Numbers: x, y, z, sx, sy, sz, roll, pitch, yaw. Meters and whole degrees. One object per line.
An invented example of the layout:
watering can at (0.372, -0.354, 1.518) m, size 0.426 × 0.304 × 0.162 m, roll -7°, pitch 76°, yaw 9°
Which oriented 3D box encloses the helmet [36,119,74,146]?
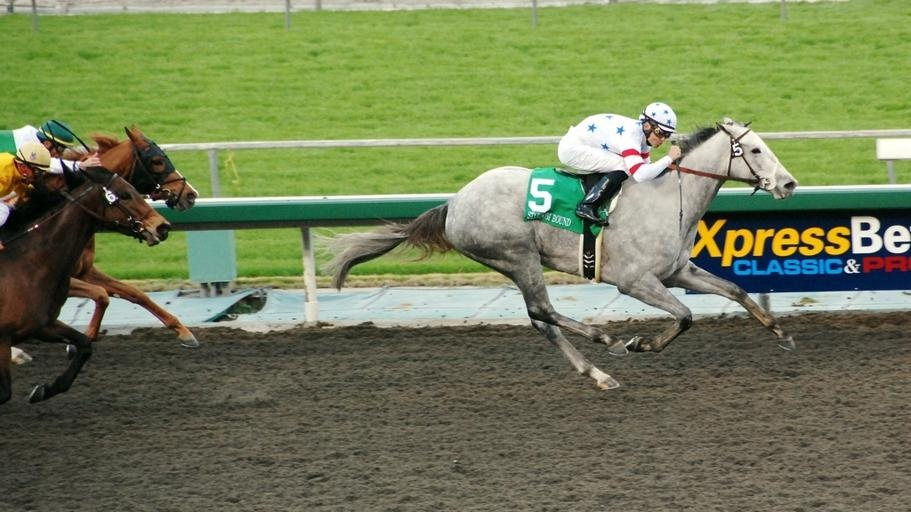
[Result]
helmet at (-4.379, -1.346, 14.039) m, size 0.454 × 0.200 × 0.254 m, roll 8°, pitch 31°, yaw -26°

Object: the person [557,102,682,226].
person at (1.824, -1.011, 13.802) m, size 1.319 × 1.225 × 0.714 m, roll -4°, pitch 24°, yaw -5°

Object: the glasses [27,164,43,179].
glasses at (-4.471, -0.908, 13.542) m, size 0.176 × 0.057 × 0.173 m, roll 5°, pitch 11°, yaw -13°

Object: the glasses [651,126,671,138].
glasses at (2.241, -1.347, 13.823) m, size 0.158 × 0.032 × 0.141 m, roll 3°, pitch 24°, yaw -39°

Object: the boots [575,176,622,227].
boots at (1.610, -0.623, 13.732) m, size 0.550 × 0.551 × 0.250 m, roll -18°, pitch 29°, yaw -32°

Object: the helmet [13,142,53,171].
helmet at (-4.460, -1.065, 13.542) m, size 0.464 × 0.182 × 0.264 m, roll 11°, pitch 23°, yaw 1°
